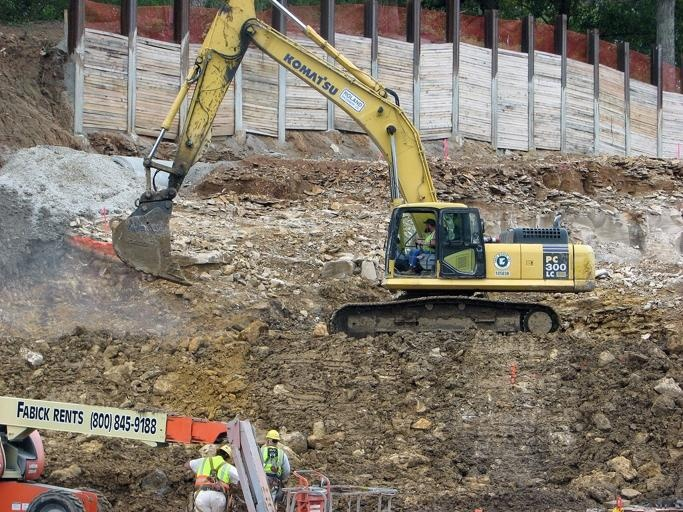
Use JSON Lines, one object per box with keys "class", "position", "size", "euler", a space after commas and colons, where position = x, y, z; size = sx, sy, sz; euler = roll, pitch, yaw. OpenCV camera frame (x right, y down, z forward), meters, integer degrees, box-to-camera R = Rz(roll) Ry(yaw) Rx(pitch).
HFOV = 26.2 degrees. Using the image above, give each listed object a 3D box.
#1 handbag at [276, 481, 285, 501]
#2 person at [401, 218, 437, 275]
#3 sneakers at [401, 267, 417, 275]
{"class": "handbag", "position": [-1.071, 4.375, 26.922], "size": [0.108, 0.313, 0.217], "euler": [5, -3, -22]}
{"class": "person", "position": [1.731, -0.202, 31.050], "size": [0.633, 1.138, 0.253], "euler": [2, -2, 8]}
{"class": "sneakers", "position": [1.469, 0.338, 31.040], "size": [0.289, 0.209, 0.126], "euler": [3, -5, 16]}
